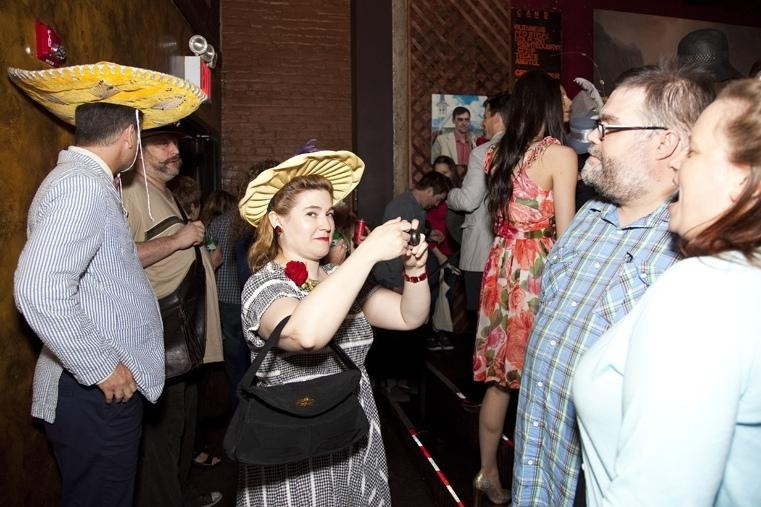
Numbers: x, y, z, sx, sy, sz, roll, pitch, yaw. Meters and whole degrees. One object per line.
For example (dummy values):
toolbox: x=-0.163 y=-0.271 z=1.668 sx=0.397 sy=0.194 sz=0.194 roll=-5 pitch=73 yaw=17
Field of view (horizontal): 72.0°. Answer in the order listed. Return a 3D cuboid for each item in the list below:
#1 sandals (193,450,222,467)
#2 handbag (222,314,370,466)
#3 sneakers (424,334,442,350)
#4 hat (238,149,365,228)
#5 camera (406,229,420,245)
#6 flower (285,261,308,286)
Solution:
sandals: x=-1.121 y=1.341 z=3.416 sx=0.136 sy=0.059 sz=0.075 roll=6 pitch=5 yaw=11
handbag: x=-0.256 y=0.426 z=1.737 sx=0.470 sy=0.516 sz=0.183 roll=-5 pitch=11 yaw=-19
sneakers: x=0.511 y=0.850 z=4.965 sx=0.097 sy=0.111 sz=0.275 roll=0 pitch=-7 yaw=-2
hat: x=-0.314 y=-0.313 z=2.214 sx=0.486 sy=0.151 sz=0.526 roll=-10 pitch=-7 yaw=34
camera: x=0.129 y=-0.055 z=1.886 sx=0.029 sy=0.061 sz=0.086 roll=10 pitch=22 yaw=27
flower: x=-0.306 y=0.080 z=1.926 sx=0.080 sy=0.085 sz=0.059 roll=-5 pitch=20 yaw=-14
